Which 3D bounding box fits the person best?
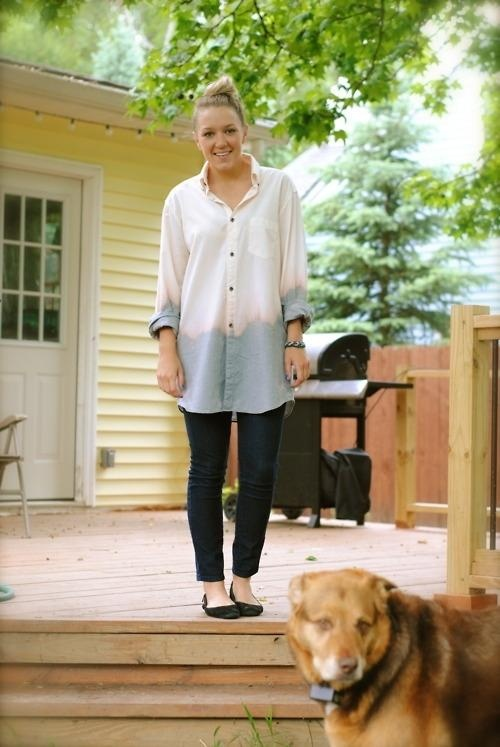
[{"bbox_3d":[-0.027,-0.083,2.480,0.537,1.601,0.461,-10,10,-6],"label":"person"}]
